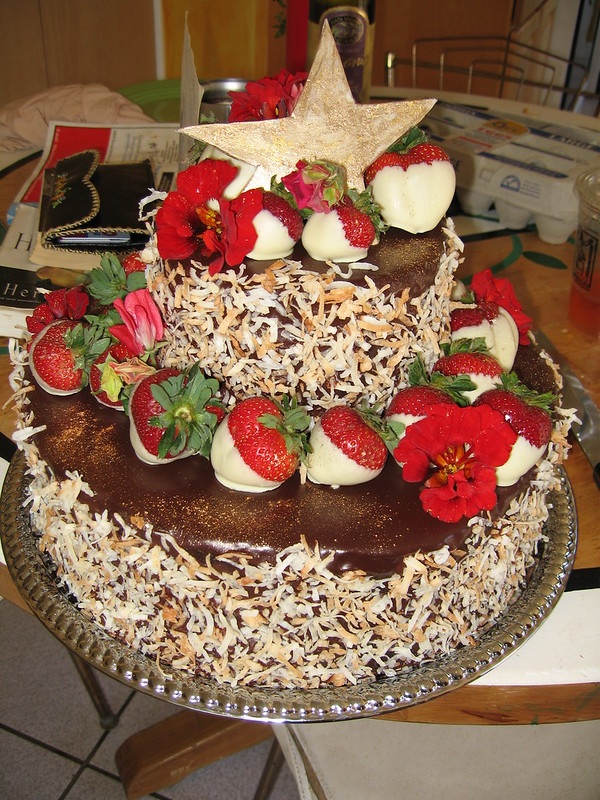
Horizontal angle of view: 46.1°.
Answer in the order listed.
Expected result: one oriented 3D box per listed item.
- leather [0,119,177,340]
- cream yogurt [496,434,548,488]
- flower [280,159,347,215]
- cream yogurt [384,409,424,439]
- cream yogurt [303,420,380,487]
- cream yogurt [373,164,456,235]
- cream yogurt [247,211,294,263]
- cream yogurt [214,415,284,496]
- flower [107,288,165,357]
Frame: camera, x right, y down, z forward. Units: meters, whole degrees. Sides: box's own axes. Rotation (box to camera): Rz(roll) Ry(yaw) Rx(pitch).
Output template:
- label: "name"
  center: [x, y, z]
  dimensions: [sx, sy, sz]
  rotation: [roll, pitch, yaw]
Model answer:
- label: "leather"
  center: [-0.500, -0.406, 1.783]
  dimensions: [0.541, 0.155, 0.616]
  rotation: [-4, 59, 8]
- label: "cream yogurt"
  center: [0.267, 0.078, 0.879]
  dimensions: [0.071, 0.055, 0.072]
  rotation: [1, 26, 10]
- label: "flower"
  center: [0.014, -0.257, 0.856]
  dimensions: [0.076, 0.057, 0.046]
  rotation: [5, 37, 2]
- label: "cream yogurt"
  center: [0.126, 0.027, 0.860]
  dimensions: [0.039, 0.039, 0.035]
  rotation: [5, 8, 7]
- label: "cream yogurt"
  center: [0.039, 0.074, 0.867]
  dimensions: [0.083, 0.072, 0.076]
  rotation: [34, 24, -11]
- label: "cream yogurt"
  center: [0.153, -0.272, 0.992]
  dimensions: [0.105, 0.095, 0.103]
  rotation: [-31, 25, -27]
- label: "cream yogurt"
  center: [-0.041, -0.207, 0.893]
  dimensions: [0.059, 0.045, 0.056]
  rotation: [-23, 44, -32]
- label: "cream yogurt"
  center: [-0.069, 0.072, 0.826]
  dimensions: [0.090, 0.075, 0.044]
  rotation: [24, 43, 26]
- label: "flower"
  center: [-0.207, -0.101, 0.912]
  dimensions: [0.084, 0.075, 0.037]
  rotation: [-10, 21, -10]
